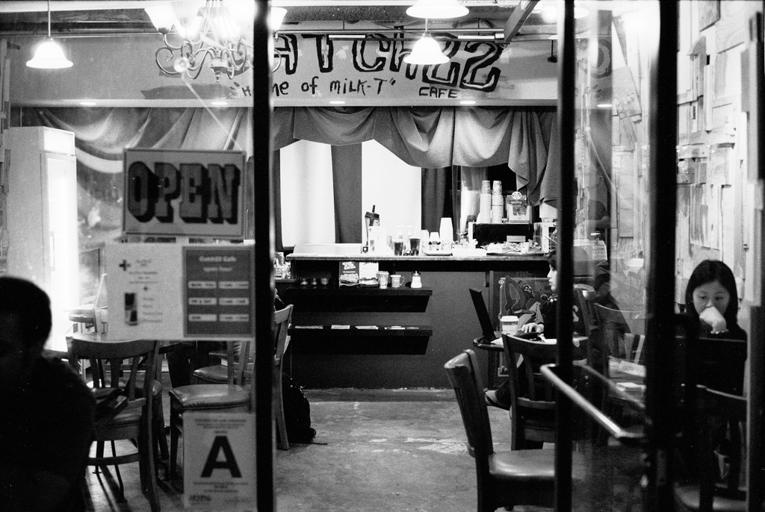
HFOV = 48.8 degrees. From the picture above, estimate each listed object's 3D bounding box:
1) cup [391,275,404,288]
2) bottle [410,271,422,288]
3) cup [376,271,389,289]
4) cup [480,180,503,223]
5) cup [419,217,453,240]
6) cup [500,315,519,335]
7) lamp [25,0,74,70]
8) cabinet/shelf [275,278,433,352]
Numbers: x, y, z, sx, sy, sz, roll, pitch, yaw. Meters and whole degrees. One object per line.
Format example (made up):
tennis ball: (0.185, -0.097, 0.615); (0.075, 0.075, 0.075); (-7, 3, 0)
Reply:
cup: (0.127, 0.242, 8.174); (0.128, 0.116, 0.089); (2, -3, -18)
bottle: (0.319, 0.228, 8.187); (0.137, 0.151, 0.136); (3, -5, -43)
cup: (-0.002, 0.224, 8.184); (0.136, 0.135, 0.136); (0, 2, 0)
cup: (1.161, -0.596, 9.143); (0.258, 0.434, 0.276); (0, 8, 0)
cup: (0.614, -0.272, 9.005); (0.283, 0.258, 0.287); (-1, 2, 0)
cup: (0.977, 0.529, 6.569); (0.199, 0.170, 0.201); (-1, 3, 0)
lamp: (-1.633, -1.087, 4.131); (0.242, 0.341, 0.082); (3, 8, 20)
cabinet/shelf: (-0.279, 0.605, 8.060); (1.474, 0.675, 0.210); (0, 8, 0)
